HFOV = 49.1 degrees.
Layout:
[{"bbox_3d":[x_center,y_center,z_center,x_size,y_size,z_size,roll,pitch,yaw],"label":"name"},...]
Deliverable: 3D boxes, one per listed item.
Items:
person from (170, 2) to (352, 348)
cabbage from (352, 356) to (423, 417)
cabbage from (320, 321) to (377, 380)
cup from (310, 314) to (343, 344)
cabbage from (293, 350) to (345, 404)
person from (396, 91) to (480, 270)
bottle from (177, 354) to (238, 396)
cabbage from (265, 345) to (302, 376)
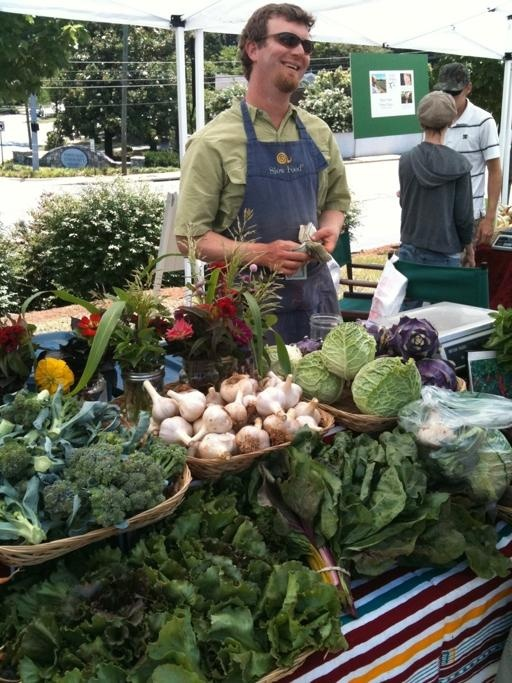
[{"bbox_3d":[0.084,-0.739,2.628,1.024,1.521,0.667,-10,12,-40],"label":"person"},{"bbox_3d":[0.419,0.141,1.819,0.213,0.195,0.234,2,17,31],"label":"cabbage"},{"bbox_3d":[0.296,0.038,1.902,0.178,0.173,0.184,4,-22,-10],"label":"cabbage"},{"bbox_3d":[0.265,-0.048,2.199,0.114,0.107,0.108,0,6,0],"label":"cup"},{"bbox_3d":[0.207,0.125,1.976,0.180,0.164,0.215,14,24,38],"label":"cabbage"},{"bbox_3d":[1.402,-1.253,4.376,0.572,1.319,0.461,1,10,15],"label":"person"},{"bbox_3d":[-0.147,0.094,1.713,0.136,0.087,0.124,0,5,0],"label":"bottle"},{"bbox_3d":[0.105,0.056,1.987,0.102,0.114,0.093,17,3,25],"label":"cabbage"}]
